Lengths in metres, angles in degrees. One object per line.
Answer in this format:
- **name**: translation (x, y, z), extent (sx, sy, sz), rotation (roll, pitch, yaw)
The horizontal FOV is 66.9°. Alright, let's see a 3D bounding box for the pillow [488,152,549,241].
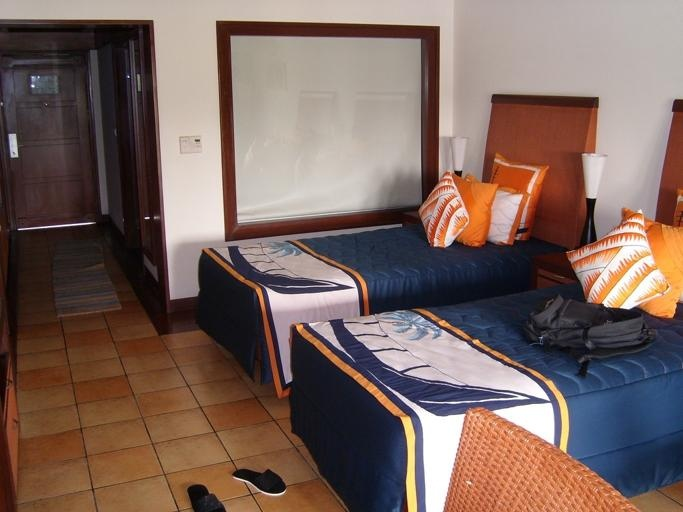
- **pillow**: translation (1.568, -0.537, 4.587), extent (0.181, 0.618, 0.633), rotation (8, 9, -28)

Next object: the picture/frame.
- **picture/frame**: translation (-0.209, -1.315, 5.208), extent (2.159, 2.070, 0.090), rotation (-7, 19, -19)

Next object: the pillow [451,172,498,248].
- **pillow**: translation (1.136, -0.369, 4.455), extent (0.287, 0.493, 0.550), rotation (-16, 18, -16)

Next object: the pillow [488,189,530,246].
- **pillow**: translation (1.434, -0.332, 4.457), extent (0.415, 0.451, 0.192), rotation (9, 4, -6)
